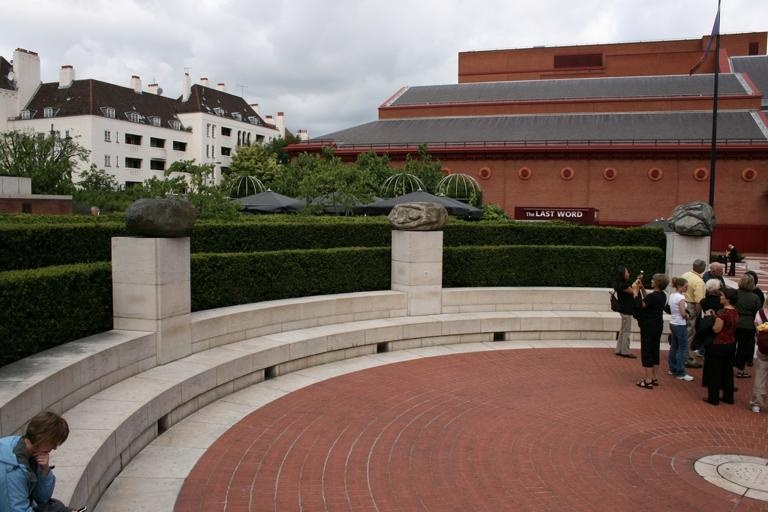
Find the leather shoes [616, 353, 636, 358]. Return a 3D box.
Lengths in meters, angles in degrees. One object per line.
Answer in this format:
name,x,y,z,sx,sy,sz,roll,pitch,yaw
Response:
leather shoes,6.154,2.511,18.395,0.388,0.156,0.135,0,0,21

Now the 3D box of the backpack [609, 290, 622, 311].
backpack,5.782,1.159,18.132,0.217,0.566,0.673,2,4,16

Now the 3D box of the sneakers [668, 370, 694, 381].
sneakers,6.894,2.783,16.816,0.487,0.199,0.182,1,3,28
